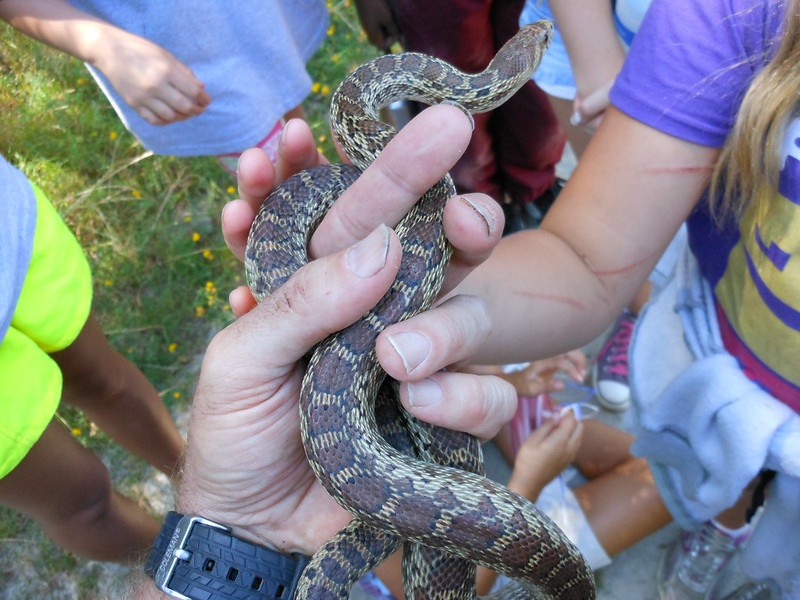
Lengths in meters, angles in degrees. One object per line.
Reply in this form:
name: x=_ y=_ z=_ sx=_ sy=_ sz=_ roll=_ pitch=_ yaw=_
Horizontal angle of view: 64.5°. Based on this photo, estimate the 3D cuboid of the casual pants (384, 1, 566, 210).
casual pants: x=0.670 y=-1.474 z=4.693 sx=1.228 sy=1.412 sz=0.440 roll=16 pitch=47 yaw=2
